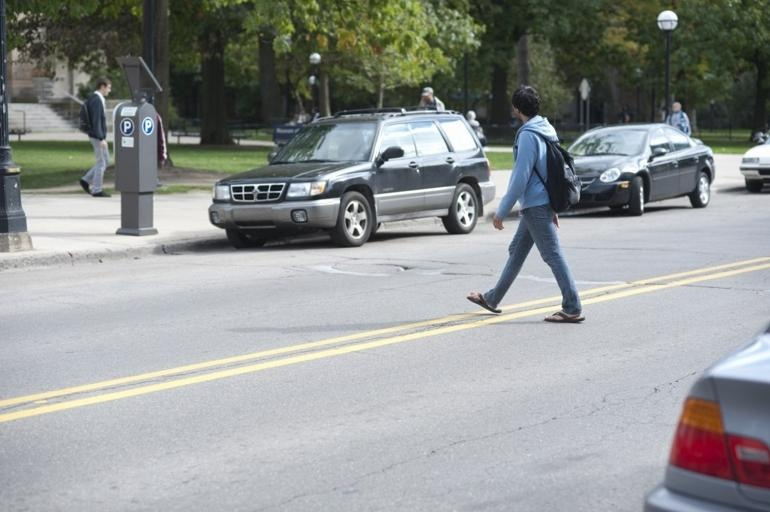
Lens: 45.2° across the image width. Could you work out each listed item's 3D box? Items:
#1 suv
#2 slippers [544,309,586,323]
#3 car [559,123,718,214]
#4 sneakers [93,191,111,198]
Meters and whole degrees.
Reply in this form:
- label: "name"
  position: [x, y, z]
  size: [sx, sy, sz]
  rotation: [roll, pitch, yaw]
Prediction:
- label: "suv"
  position: [-0.425, -1.417, 15.660]
  size: [2.379, 1.771, 4.102]
  rotation: [0, 2, 44]
- label: "slippers"
  position: [1.829, 0.582, 9.405]
  size: [0.364, 0.150, 0.148]
  rotation: [4, 2, 6]
- label: "car"
  position: [5.356, -1.870, 19.964]
  size: [1.841, 1.291, 3.370]
  rotation: [-1, 1, 41]
- label: "sneakers"
  position: [-6.378, -1.423, 20.797]
  size: [0.442, 0.192, 0.153]
  rotation: [-1, 5, -10]
